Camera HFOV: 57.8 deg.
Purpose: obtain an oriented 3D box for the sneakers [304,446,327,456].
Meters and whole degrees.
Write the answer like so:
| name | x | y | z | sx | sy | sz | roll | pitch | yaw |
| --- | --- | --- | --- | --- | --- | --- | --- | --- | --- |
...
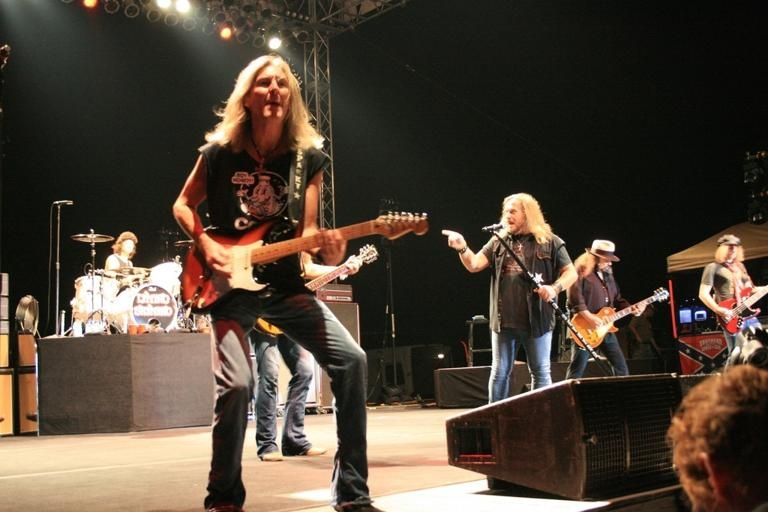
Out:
| name | x | y | z | sx | sy | sz | roll | pitch | yaw |
| --- | --- | --- | --- | --- | --- | --- | --- | --- | --- |
| sneakers | -0.701 | 1.954 | 6.990 | 0.211 | 0.085 | 0.079 | -8 | 2 | 5 |

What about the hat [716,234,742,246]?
| name | x | y | z | sx | sy | sz | roll | pitch | yaw |
| --- | --- | --- | --- | --- | --- | --- | --- | --- | --- |
| hat | 5.401 | -0.241 | 10.913 | 0.223 | 0.124 | 0.298 | 1 | -10 | 2 |

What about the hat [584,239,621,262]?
| name | x | y | z | sx | sy | sz | roll | pitch | yaw |
| --- | --- | --- | --- | --- | --- | --- | --- | --- | --- |
| hat | 3.230 | -0.092 | 10.430 | 0.408 | 0.171 | 0.369 | 16 | 21 | 15 |

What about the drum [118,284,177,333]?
| name | x | y | z | sx | sy | sz | roll | pitch | yaw |
| --- | --- | --- | --- | --- | --- | --- | --- | --- | --- |
| drum | -3.804 | 0.880 | 11.280 | 0.758 | 0.767 | 0.717 | 13 | -9 | -35 |

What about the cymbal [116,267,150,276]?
| name | x | y | z | sx | sy | sz | roll | pitch | yaw |
| --- | --- | --- | --- | --- | --- | --- | --- | --- | --- |
| cymbal | -4.516 | 0.285 | 12.482 | 0.563 | 0.199 | 0.539 | 3 | -11 | -21 |

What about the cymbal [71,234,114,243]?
| name | x | y | z | sx | sy | sz | roll | pitch | yaw |
| --- | --- | --- | --- | --- | --- | --- | --- | --- | --- |
| cymbal | -5.558 | -0.319 | 13.016 | 0.516 | 0.120 | 0.525 | -7 | -8 | 25 |

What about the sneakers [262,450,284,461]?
| name | x | y | z | sx | sy | sz | roll | pitch | yaw |
| --- | --- | --- | --- | --- | --- | --- | --- | --- | --- |
| sneakers | -1.099 | 1.949 | 6.799 | 0.172 | 0.068 | 0.091 | -16 | -19 | 40 |

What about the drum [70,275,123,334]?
| name | x | y | z | sx | sy | sz | roll | pitch | yaw |
| --- | --- | --- | --- | --- | --- | --- | --- | --- | --- |
| drum | -4.980 | 0.775 | 11.910 | 0.684 | 1.131 | 1.487 | 4 | -11 | -24 |

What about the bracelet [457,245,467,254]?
| name | x | y | z | sx | sy | sz | roll | pitch | yaw |
| --- | --- | --- | --- | --- | --- | --- | --- | --- | --- |
| bracelet | 0.742 | -0.061 | 6.770 | 0.070 | 0.067 | 0.073 | 12 | 6 | 41 |

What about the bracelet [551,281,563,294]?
| name | x | y | z | sx | sy | sz | roll | pitch | yaw |
| --- | --- | --- | --- | --- | --- | --- | --- | --- | --- |
| bracelet | 1.648 | 0.309 | 6.698 | 0.103 | 0.097 | 0.103 | 3 | -21 | -27 |
